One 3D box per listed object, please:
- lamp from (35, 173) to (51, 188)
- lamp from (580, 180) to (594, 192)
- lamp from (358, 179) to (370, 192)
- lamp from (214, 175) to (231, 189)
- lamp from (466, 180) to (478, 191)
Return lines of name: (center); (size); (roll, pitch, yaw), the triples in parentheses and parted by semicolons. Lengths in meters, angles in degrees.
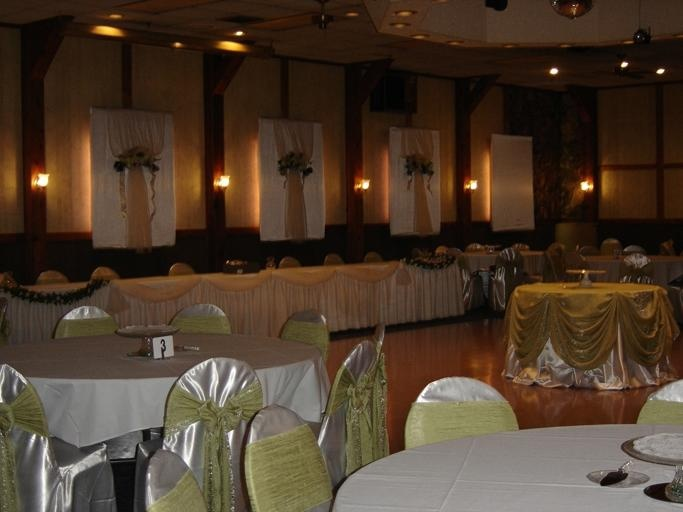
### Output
lamp: (-4.306, -1.079, 9.670); (0.149, 0.203, 0.179); (2, -2, -16)
lamp: (6.225, -1.779, 16.955); (0.213, 0.130, 0.312); (4, -13, -9)
lamp: (0.470, -1.442, 13.603); (0.153, 0.269, 0.499); (6, 3, 15)
lamp: (-2.055, -1.263, 11.477); (0.226, 0.242, 0.157); (3, 4, -43)
lamp: (3.038, -1.648, 15.594); (0.169, 0.204, 0.586); (8, 3, 25)
